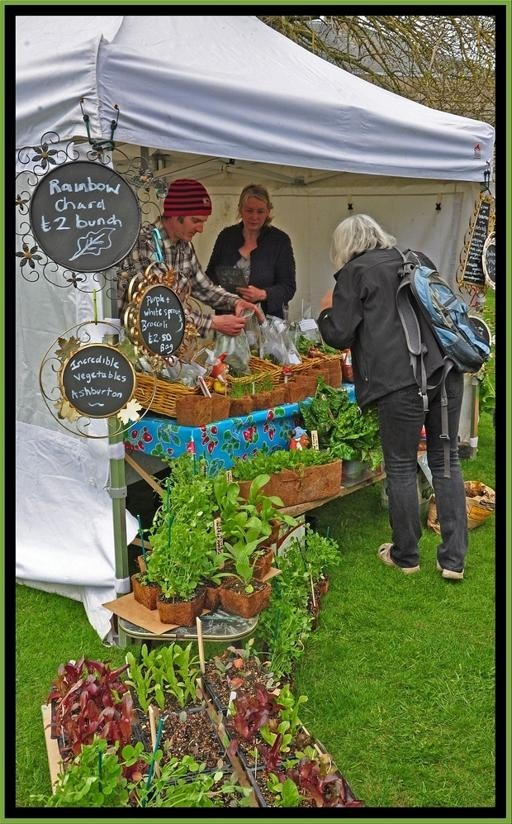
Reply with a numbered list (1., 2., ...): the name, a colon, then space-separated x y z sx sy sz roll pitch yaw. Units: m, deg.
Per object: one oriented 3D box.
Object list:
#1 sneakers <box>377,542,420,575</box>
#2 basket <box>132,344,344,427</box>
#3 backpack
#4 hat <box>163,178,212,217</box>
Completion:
1. sneakers: 0.822 0.838 3.780 0.105 0.089 0.239 -11 18 -28
2. basket: -0.057 -0.115 3.703 0.507 0.214 0.895 7 12 40
3. backpack: 0.935 -0.489 3.334 0.198 0.616 0.451 -25 16 23
4. hat: -0.378 -1.138 3.534 0.233 0.182 0.228 -5 7 -36
